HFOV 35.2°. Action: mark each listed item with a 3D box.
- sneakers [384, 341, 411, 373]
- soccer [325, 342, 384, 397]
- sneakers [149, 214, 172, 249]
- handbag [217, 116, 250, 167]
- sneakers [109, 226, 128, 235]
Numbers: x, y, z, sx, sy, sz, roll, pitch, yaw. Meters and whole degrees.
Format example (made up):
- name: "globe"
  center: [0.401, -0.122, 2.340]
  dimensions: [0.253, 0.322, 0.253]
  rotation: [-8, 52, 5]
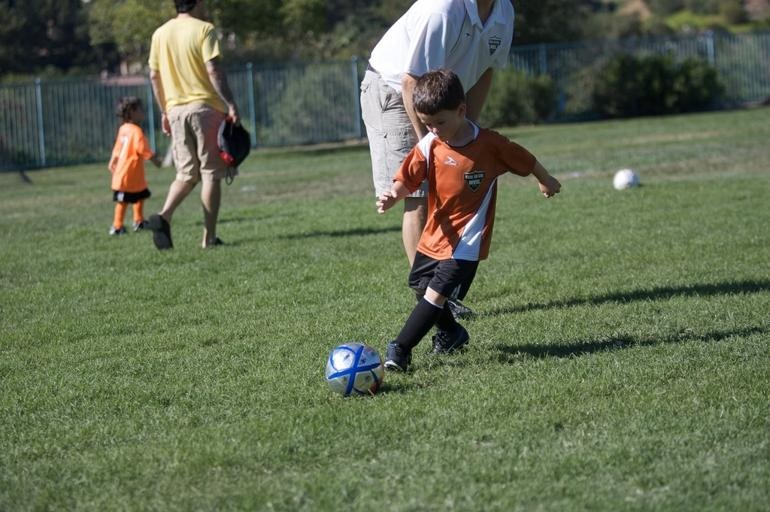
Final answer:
- name: "sneakers"
  center: [0.101, 0.786, 9.337]
  dimensions: [0.112, 0.172, 0.327]
  rotation: [5, -4, 22]
- name: "soccer"
  center: [-0.195, 0.841, 9.264]
  dimensions: [0.361, 0.392, 0.384]
  rotation: [-10, 18, 15]
- name: "sneakers"
  center: [-2.200, -0.242, 11.964]
  dimensions: [0.212, 0.373, 0.214]
  rotation: [-5, 8, -11]
- name: "handbag"
  center: [-1.483, -1.119, 12.028]
  dimensions: [0.325, 0.505, 0.301]
  rotation: [-6, 8, -15]
- name: "sneakers"
  center: [-2.869, -0.274, 13.102]
  dimensions: [0.075, 0.094, 0.204]
  rotation: [1, -2, -36]
